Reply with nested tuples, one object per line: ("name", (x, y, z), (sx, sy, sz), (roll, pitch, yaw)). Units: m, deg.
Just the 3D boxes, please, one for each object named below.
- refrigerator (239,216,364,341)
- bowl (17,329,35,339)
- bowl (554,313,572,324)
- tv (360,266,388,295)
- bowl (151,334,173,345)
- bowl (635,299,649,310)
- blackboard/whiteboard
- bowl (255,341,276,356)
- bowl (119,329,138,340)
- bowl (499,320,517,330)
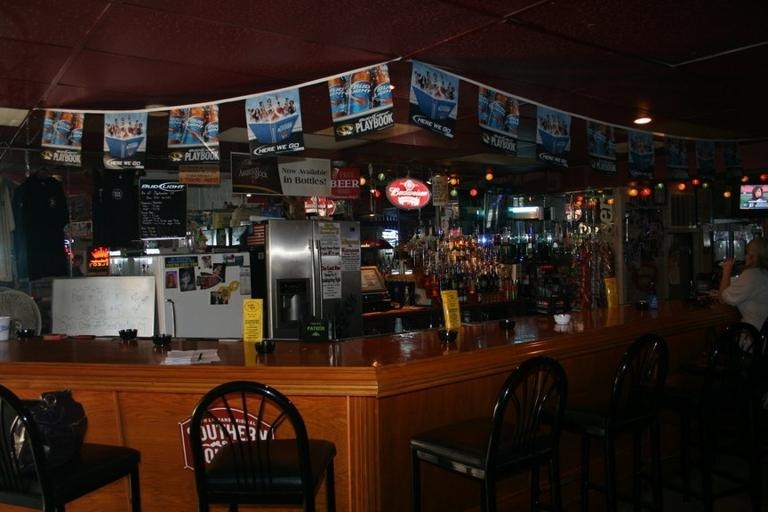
("refrigerator", (-0.990, 0.285, 8.027), (1.420, 1.524, 0.656), (-1, -1, -6))
("bowl", (-3.363, 0.726, 5.720), (0.113, 0.039, 0.098), (1, 0, 20))
("bowl", (1.615, 0.567, 5.540), (0.127, 0.090, 0.169), (-1, -1, 15))
("tv", (-0.143, 0.326, 8.568), (0.349, 0.365, 0.540), (-1, -1, -1))
("bowl", (-1.859, 0.698, 5.143), (0.112, 0.043, 0.101), (-1, -3, 31))
("bowl", (2.666, 0.510, 6.356), (0.135, 0.086, 0.128), (0, -4, 0))
("blackboard/whiteboard", (-3.040, 0.540, 6.641), (1.166, 0.627, 0.248), (-1, -1, 11))
("bowl", (-0.922, 0.707, 4.749), (0.149, 0.091, 0.200), (-1, -1, -12))
("bowl", (-2.242, 0.691, 5.400), (0.124, 0.059, 0.122), (1, -8, 0))
("bowl", (1.082, 0.599, 5.358), (0.130, 0.088, 0.125), (-1, -1, 0))
